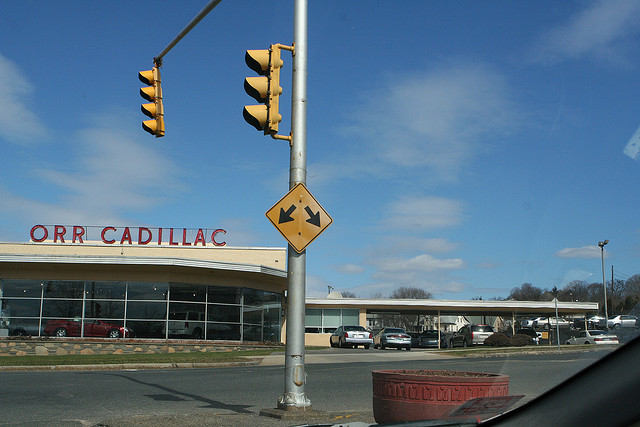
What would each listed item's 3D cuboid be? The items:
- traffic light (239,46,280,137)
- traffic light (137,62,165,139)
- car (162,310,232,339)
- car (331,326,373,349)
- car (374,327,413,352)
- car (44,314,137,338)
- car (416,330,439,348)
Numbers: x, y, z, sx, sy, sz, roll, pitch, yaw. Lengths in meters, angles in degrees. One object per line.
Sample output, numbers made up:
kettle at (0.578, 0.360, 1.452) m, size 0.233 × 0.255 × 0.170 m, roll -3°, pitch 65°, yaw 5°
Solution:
traffic light at (-0.960, -2.143, 11.067) m, size 0.627 × 1.617 × 0.402 m, roll 4°, pitch -14°, yaw -13°
traffic light at (-3.405, -2.343, 13.314) m, size 0.551 × 1.625 × 0.251 m, roll 6°, pitch -14°, yaw -19°
car at (-6.478, 5.654, 33.529) m, size 2.565 × 0.916 × 1.249 m, roll 5°, pitch -8°, yaw -42°
car at (1.785, 7.270, 38.591) m, size 1.688 × 1.208 × 5.344 m, roll 2°, pitch -13°, yaw -6°
car at (4.076, 6.894, 36.397) m, size 1.795 × 1.335 × 2.989 m, roll 0°, pitch -13°, yaw 4°
car at (-11.524, 5.746, 32.602) m, size 3.674 × 0.992 × 1.568 m, roll 1°, pitch -13°, yaw -4°
car at (6.469, 7.433, 38.952) m, size 0.718 × 0.992 × 1.903 m, roll 7°, pitch -15°, yaw -23°
